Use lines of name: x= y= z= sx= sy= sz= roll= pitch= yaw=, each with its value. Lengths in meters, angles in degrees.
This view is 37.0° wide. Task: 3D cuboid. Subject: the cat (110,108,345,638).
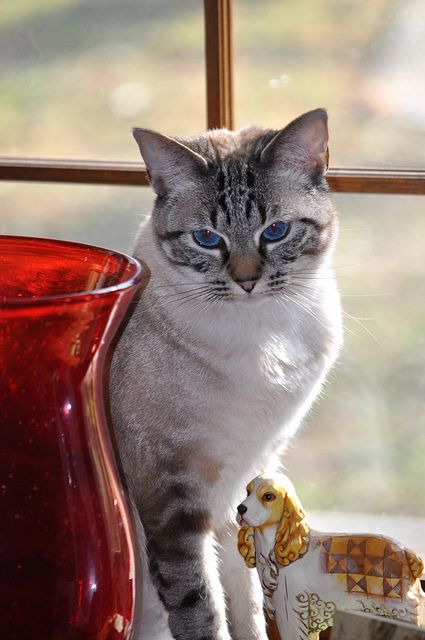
cat: x=-0.013 y=0.066 z=0.891 sx=0.275 sy=0.694 sz=0.320 roll=11 pitch=17 yaw=41
